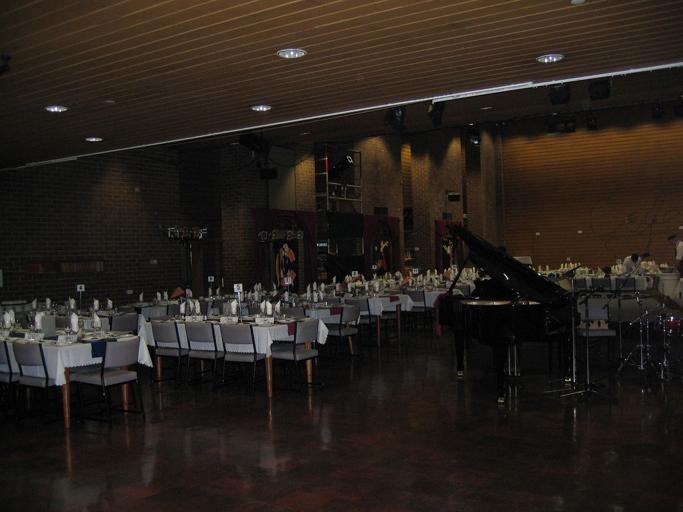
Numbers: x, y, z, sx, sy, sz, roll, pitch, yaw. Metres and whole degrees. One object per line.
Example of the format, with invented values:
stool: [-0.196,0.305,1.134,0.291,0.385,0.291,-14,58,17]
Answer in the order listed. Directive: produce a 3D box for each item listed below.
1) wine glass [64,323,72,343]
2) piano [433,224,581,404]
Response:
wine glass: [-3.607,1.014,7.425,0.070,0.056,0.210,6,29,-19]
piano: [2.478,0.559,8.504,2.316,2.933,2.265,-4,4,-16]
